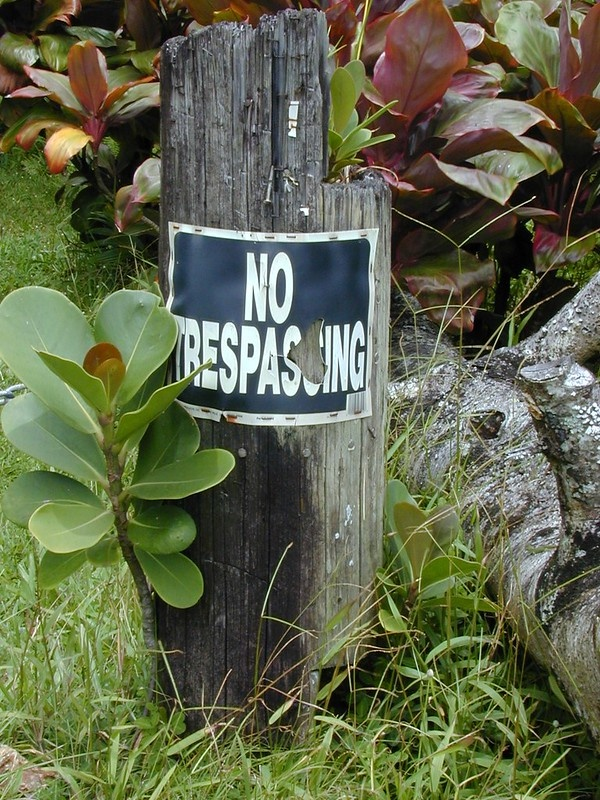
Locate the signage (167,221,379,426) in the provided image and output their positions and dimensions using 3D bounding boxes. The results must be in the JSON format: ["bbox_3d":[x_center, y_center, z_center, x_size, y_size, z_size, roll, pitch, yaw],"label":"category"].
[{"bbox_3d":[-0.059,-0.148,1.466,0.389,0.331,0.138,0,10,-13],"label":"signage"}]
